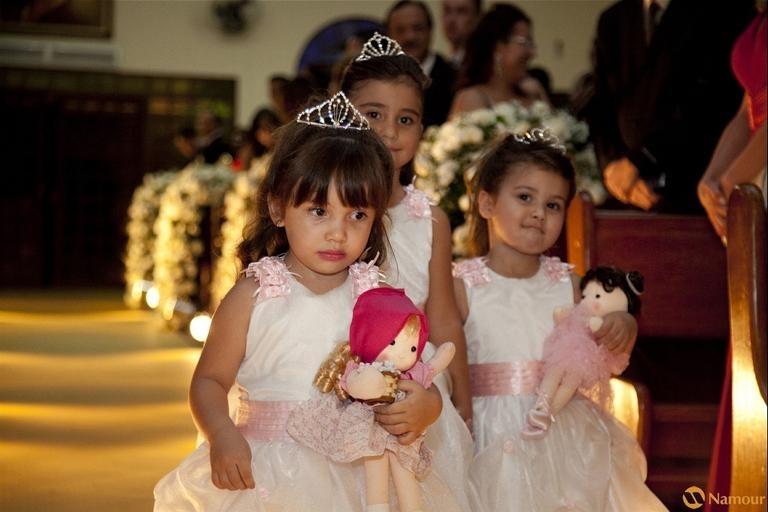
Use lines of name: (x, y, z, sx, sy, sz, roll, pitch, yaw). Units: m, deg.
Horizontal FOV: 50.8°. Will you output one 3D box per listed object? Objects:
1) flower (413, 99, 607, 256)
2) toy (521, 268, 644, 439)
flower: (0.677, -0.429, 4.661, 0.882, 0.836, 0.912, -3, 0, -8)
toy: (0.921, 0.440, 3.719, 0.388, 0.867, 0.346, 26, -2, 18)
